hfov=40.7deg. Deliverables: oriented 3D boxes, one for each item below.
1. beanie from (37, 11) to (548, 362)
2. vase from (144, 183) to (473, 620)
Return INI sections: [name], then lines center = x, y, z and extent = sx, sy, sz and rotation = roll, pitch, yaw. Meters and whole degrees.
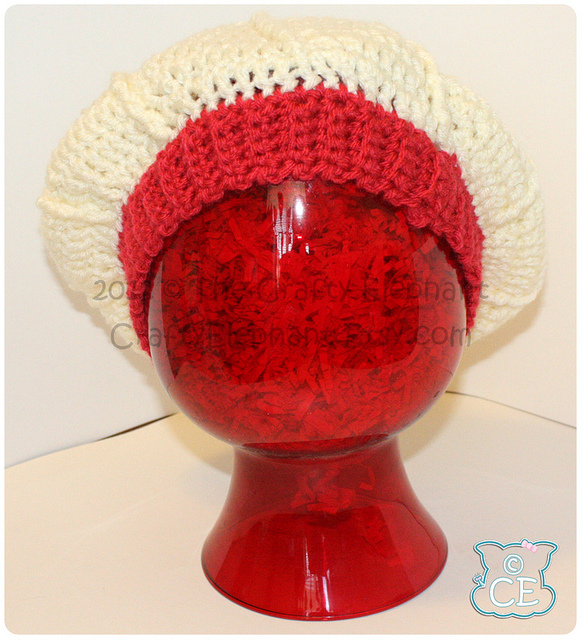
[beanie]
center = 0.019, -0.116, 1.255
extent = 0.632, 0.608, 0.464
rotation = -6, 18, 2
[vase]
center = 0.061, 0.112, 1.083
extent = 0.459, 0.602, 0.282
rotation = -12, 10, -8
